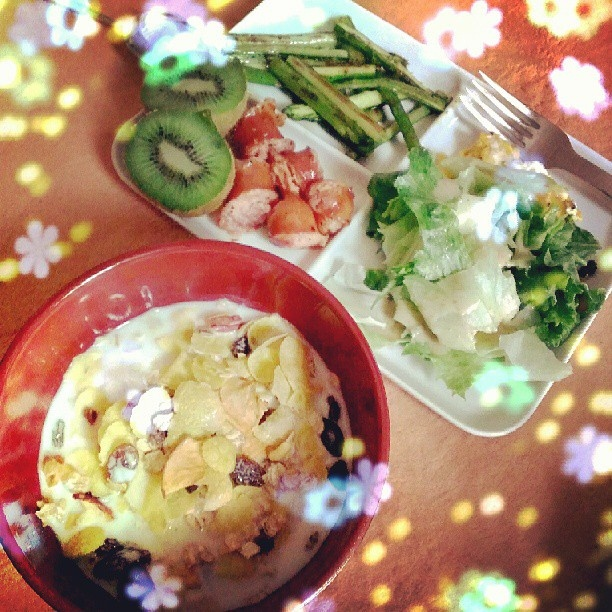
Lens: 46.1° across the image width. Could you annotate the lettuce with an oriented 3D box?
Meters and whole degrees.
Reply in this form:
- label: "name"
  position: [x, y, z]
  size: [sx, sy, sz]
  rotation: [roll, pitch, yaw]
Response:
- label: "lettuce"
  position: [0.319, -0.061, 1.310]
  size: [0.426, 0.132, 0.241]
  rotation: [-15, 107, -25]
